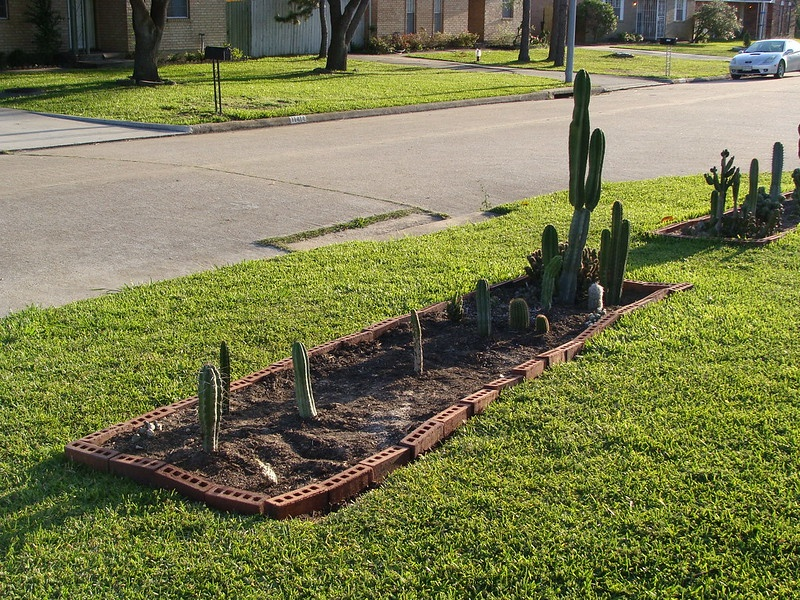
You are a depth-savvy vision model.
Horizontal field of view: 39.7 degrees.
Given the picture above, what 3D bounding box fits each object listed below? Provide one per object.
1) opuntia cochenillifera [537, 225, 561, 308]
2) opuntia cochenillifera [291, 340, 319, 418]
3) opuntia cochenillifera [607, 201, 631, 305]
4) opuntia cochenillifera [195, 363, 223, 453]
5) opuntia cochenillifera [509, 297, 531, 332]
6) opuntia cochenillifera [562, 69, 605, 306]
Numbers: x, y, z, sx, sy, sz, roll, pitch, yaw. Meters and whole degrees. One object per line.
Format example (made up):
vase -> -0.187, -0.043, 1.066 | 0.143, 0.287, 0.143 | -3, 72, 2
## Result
opuntia cochenillifera -> 1.469, -0.320, 10.798 | 0.200, 0.763, 0.547 | 2, 14, 7
opuntia cochenillifera -> -0.774, 0.616, 9.041 | 0.198, 0.616, 0.355 | -1, 14, -8
opuntia cochenillifera -> 2.094, -0.446, 10.681 | 0.164, 1.050, 0.431 | 3, 14, 11
opuntia cochenillifera -> -1.467, 0.809, 8.571 | 0.164, 0.677, 0.284 | -1, 13, -5
opuntia cochenillifera -> 1.096, 0.132, 10.207 | 0.220, 0.407, 0.227 | -1, 6, 10
opuntia cochenillifera -> 1.751, -1.078, 10.766 | 0.382, 2.186, 0.382 | 3, 13, 11
